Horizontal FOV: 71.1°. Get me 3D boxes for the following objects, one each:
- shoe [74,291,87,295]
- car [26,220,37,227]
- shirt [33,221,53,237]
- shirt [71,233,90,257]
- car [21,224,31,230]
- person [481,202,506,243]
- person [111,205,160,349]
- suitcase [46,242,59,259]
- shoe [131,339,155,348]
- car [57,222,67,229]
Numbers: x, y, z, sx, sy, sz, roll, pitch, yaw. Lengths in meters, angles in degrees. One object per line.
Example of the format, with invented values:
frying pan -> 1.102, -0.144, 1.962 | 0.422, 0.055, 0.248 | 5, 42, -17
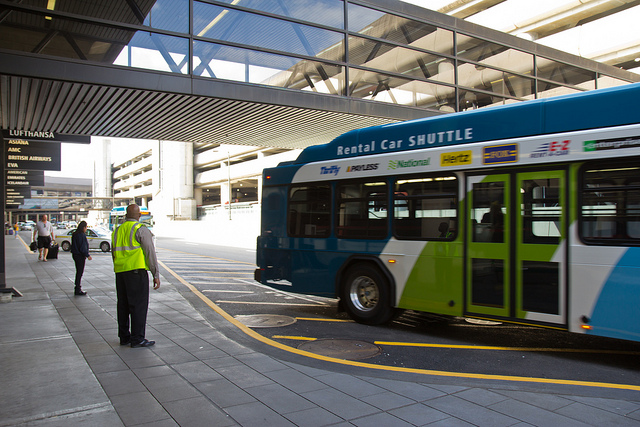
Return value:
shoe -> -6.942, 2.286, 12.945 | 0.160, 0.094, 0.283 | 3, 4, 38
car -> -62.880, 2.062, 96.774 | 4.015, 1.109, 1.499 | -1, -3, 41
shirt -> -14.444, 0.783, 23.331 | 0.647, 0.805, 0.929 | -2, 5, -34
shirt -> -7.377, 0.968, 13.719 | 0.434, 0.778, 0.366 | -2, 5, -31
car -> -62.648, 2.659, 95.276 | 2.172, 0.828, 3.269 | 1, -4, -36
person -> 3.287, 0.163, 8.436 | 0.146, 0.748, 0.444 | -3, 6, -36
person -> -3.428, 1.145, 8.249 | 0.868, 2.611, 0.452 | 0, 5, -4
suitcase -> -14.578, 2.040, 24.195 | 0.457, 0.868, 0.578 | -1, 5, -20
shoe -> -3.291, 2.392, 8.253 | 0.379, 0.116, 0.122 | -1, 0, -26
car -> -59.289, 2.683, 102.151 | 1.413, 0.824, 2.892 | 4, -6, -40
